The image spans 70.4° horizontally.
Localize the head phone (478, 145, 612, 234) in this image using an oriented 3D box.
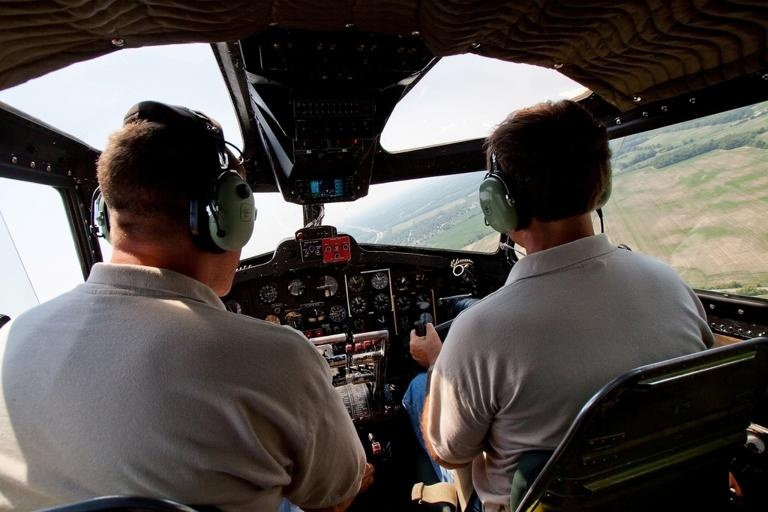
[{"bbox_3d":[0.629,-0.266,2.134,0.419,0.357,0.176,0,-27,-4],"label":"head phone"}]
